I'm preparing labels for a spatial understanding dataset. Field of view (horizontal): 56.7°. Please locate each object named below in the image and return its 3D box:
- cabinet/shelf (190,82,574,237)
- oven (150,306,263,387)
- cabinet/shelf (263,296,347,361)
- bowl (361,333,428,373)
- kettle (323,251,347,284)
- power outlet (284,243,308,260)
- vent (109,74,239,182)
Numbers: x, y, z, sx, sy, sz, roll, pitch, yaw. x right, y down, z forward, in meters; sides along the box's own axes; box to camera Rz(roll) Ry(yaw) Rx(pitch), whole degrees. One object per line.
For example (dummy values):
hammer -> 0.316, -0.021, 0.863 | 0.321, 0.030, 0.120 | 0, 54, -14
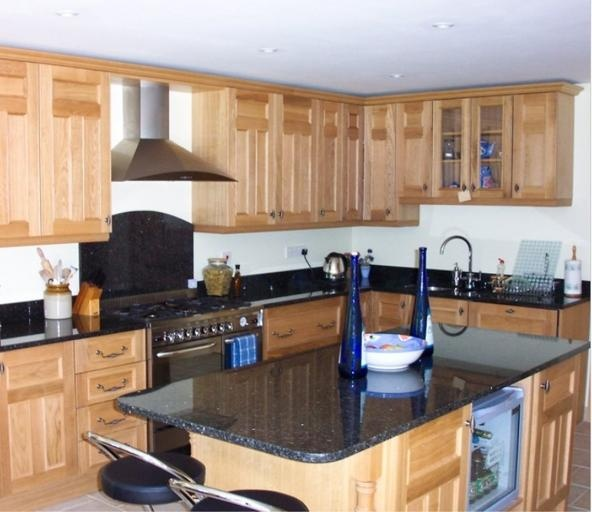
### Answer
cabinet/shelf -> 0.624, -0.846, 4.533 | 2.392, 0.854, 1.651 | 2, 3, 27
oven -> -0.680, 0.605, 3.895 | 0.874, 0.469, 0.440 | -10, 18, -36
cabinet/shelf -> 0.049, 0.571, 4.401 | 0.791, 0.392, 0.471 | -5, 6, -43
bowl -> 0.408, 0.394, 2.291 | 0.257, 0.060, 0.255 | -3, 10, 1
kettle -> 0.374, 0.101, 5.212 | 0.319, 0.263, 0.235 | 4, -2, -37
power outlet -> 0.020, -0.049, 5.276 | 0.078, 0.140, 0.290 | 3, 5, 38
vent -> -0.978, -0.918, 3.998 | 0.943, 0.717, 1.073 | 0, 7, -5
